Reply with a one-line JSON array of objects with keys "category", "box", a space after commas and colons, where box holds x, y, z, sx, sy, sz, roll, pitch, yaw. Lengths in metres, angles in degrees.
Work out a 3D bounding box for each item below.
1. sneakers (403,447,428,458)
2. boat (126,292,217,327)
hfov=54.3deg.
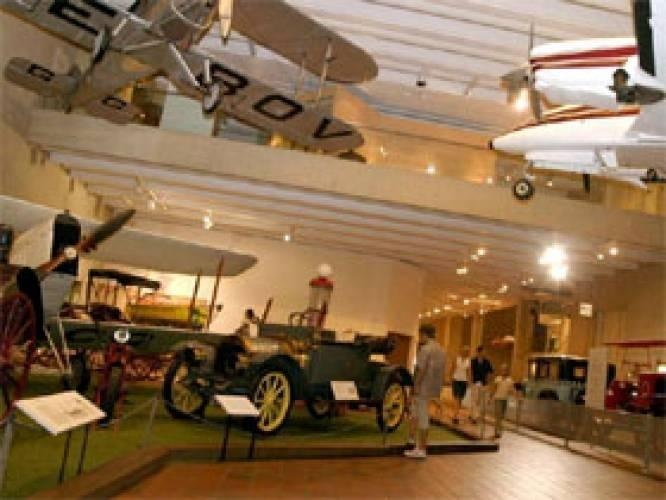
[{"category": "sneakers", "box": [0.738, 1.779, 5.709, 0.203, 0.090, 0.080, 4, -2, -6]}, {"category": "boat", "box": [-1.191, 0.445, 4.751, 0.445, 0.181, 0.261, 7, -2, -2]}]
